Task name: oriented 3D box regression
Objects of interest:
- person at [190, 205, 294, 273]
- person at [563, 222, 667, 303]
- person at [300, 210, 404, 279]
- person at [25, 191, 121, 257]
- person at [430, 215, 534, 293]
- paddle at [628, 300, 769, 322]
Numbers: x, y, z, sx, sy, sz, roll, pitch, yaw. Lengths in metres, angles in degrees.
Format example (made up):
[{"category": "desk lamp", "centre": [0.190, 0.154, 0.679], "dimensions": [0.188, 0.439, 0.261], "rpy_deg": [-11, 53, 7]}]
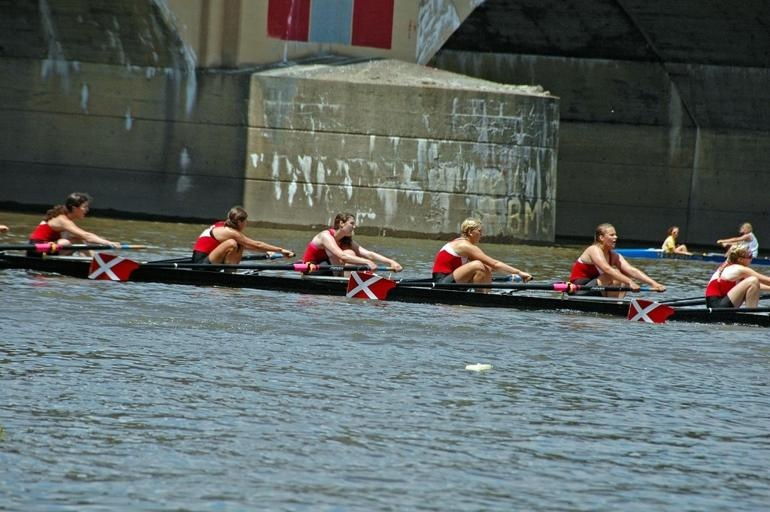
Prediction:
[{"category": "person", "centre": [-2.268, -0.331, 24.144], "dimensions": [1.689, 1.086, 0.909], "rpy_deg": [-4, 21, -19]}, {"category": "person", "centre": [3.801, 0.202, 23.555], "dimensions": [0.727, 1.181, 1.565], "rpy_deg": [-8, 14, -41]}, {"category": "person", "centre": [-0.619, -0.065, 24.280], "dimensions": [1.666, 1.126, 0.886], "rpy_deg": [10, 11, 25]}, {"category": "person", "centre": [-5.431, -0.607, 24.491], "dimensions": [1.799, 1.268, 0.913], "rpy_deg": [3, 14, -12]}, {"category": "person", "centre": [1.754, 0.066, 23.791], "dimensions": [1.782, 1.252, 0.899], "rpy_deg": [2, 17, 20]}, {"category": "paddle", "centre": [4.968, 0.875, 23.012], "dimensions": [2.061, 0.375, 0.441], "rpy_deg": [1, 3, 2]}]
